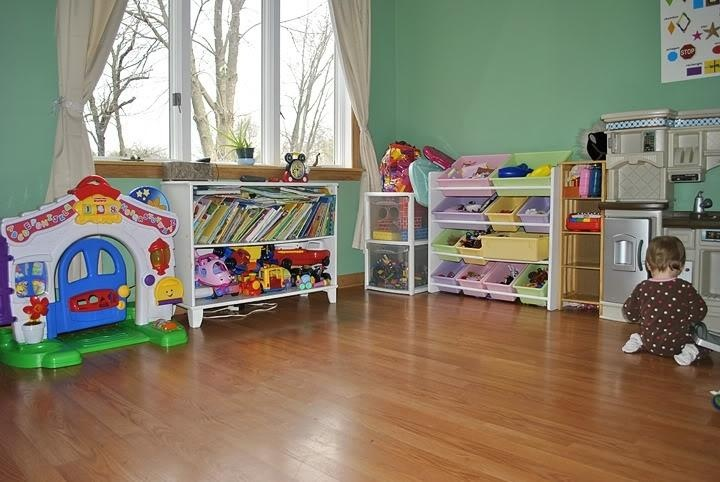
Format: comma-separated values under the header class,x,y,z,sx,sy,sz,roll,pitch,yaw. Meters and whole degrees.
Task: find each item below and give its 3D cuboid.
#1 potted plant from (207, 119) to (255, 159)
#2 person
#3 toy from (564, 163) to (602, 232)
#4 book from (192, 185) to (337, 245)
class,x,y,z,sx,sy,sz,roll,pitch,yaw
potted plant,-1.185,-0.957,4.673,0.421,0.310,0.408,2,-10,-18
person,1.957,0.376,3.254,0.511,0.717,0.453,-3,2,43
toy,1.883,-0.364,4.254,0.305,0.577,0.423,4,13,21
book,-0.785,-0.208,4.213,1.252,0.461,0.199,-8,14,-33
